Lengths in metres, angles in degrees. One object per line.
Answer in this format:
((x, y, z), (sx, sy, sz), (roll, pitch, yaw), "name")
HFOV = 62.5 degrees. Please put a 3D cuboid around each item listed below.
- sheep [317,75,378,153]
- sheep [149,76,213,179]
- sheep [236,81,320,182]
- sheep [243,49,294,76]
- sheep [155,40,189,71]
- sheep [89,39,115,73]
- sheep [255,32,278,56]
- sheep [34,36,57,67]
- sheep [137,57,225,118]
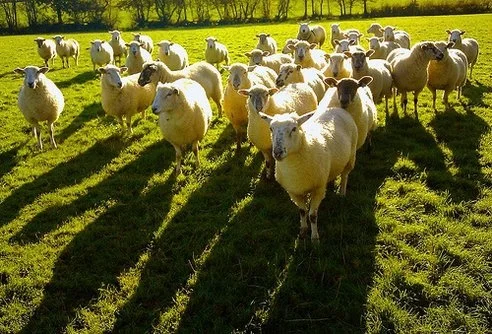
((2.658, -1.538, 10.627), (1.124, 1.584, 2.333), (2, 27, 21), "sheep")
((-1.774, -1.202, 11.791), (1.089, 2.413, 1.956), (7, 24, 25), "sheep")
((0.942, -0.957, 11.843), (1.321, 2.587, 3.178), (0, 9, 27), "sheep")
((0.821, -3.748, 14.852), (0.824, 1.090, 1.915), (9, 29, 41), "sheep")
((-3.496, -4.819, 18.149), (0.843, 1.431, 2.696), (-3, 14, -4), "sheep")
((-7.360, -5.388, 20.633), (1.058, 1.662, 2.555), (-5, 14, -17), "sheep")
((0.902, -5.820, 20.151), (0.869, 1.249, 2.117), (4, 19, 8), "sheep")
((-11.092, -6.241, 22.545), (0.772, 1.594, 2.265), (-2, 17, -12), "sheep")
((-2.108, -2.491, 13.937), (3.244, 2.195, 1.152), (-15, 26, -37), "sheep")
